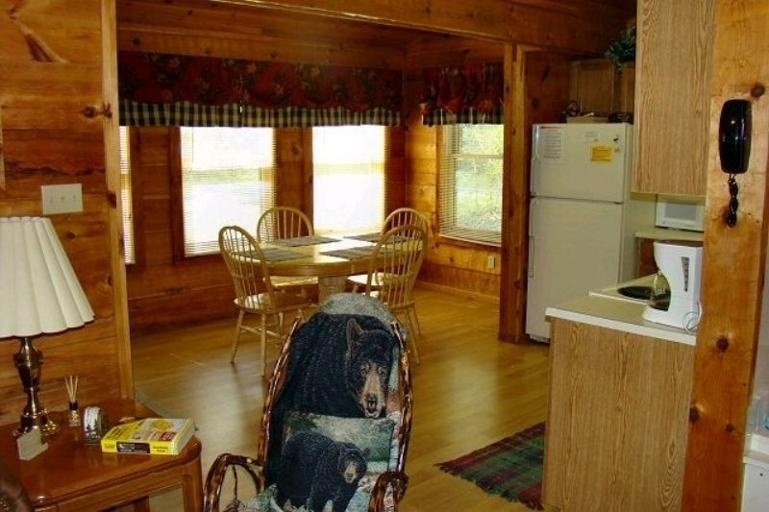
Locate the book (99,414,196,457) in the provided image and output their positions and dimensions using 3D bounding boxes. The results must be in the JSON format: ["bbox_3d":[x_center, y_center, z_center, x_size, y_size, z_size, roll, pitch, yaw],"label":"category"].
[{"bbox_3d":[-1.033,0.784,2.580,0.376,0.069,0.348,1,6,-23],"label":"book"}]

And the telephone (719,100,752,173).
[{"bbox_3d":[1.419,-0.505,2.461,0.127,0.283,0.152,0,15,14],"label":"telephone"}]

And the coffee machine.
[{"bbox_3d":[1.468,0.129,3.015,0.275,0.394,0.269,13,22,29],"label":"coffee machine"}]

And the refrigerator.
[{"bbox_3d":[1.745,-0.267,5.414,1.018,2.113,1.158,-10,15,-30],"label":"refrigerator"}]
